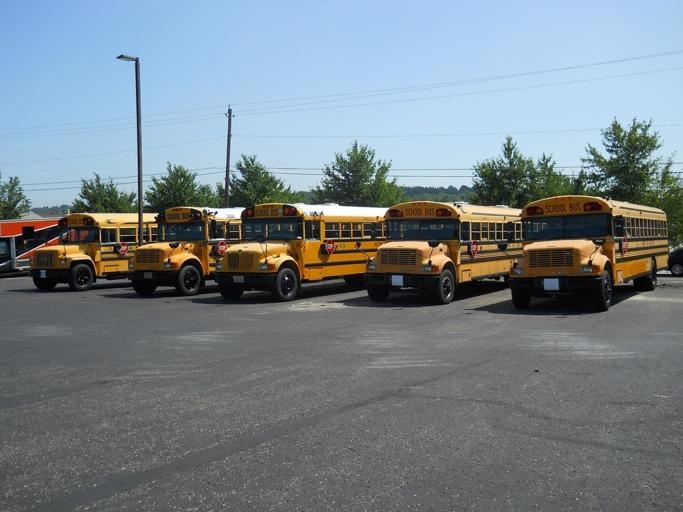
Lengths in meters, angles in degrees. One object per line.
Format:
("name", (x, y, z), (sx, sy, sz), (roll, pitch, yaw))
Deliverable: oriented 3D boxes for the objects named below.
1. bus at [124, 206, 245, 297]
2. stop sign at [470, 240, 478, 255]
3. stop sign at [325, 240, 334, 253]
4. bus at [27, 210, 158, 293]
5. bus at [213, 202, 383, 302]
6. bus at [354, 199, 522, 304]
("bus", (-5.889, -0.337, 23.376), (2.901, 3.303, 6.479), (1, 3, 22))
("stop sign", (4.179, -0.306, 17.726), (0.079, 0.386, 0.314), (5, 26, 32))
("stop sign", (-0.444, -0.373, 19.462), (0.047, 0.549, 0.420), (-4, -4, 36))
("bus", (-11.022, -0.421, 25.836), (2.445, 3.299, 7.530), (-1, 2, 14))
("bus", (-1.149, -0.371, 21.045), (2.585, 3.188, 8.193), (1, 4, 30))
("bus", (4.027, -0.328, 19.595), (2.733, 3.218, 8.079), (0, 2, 37))
